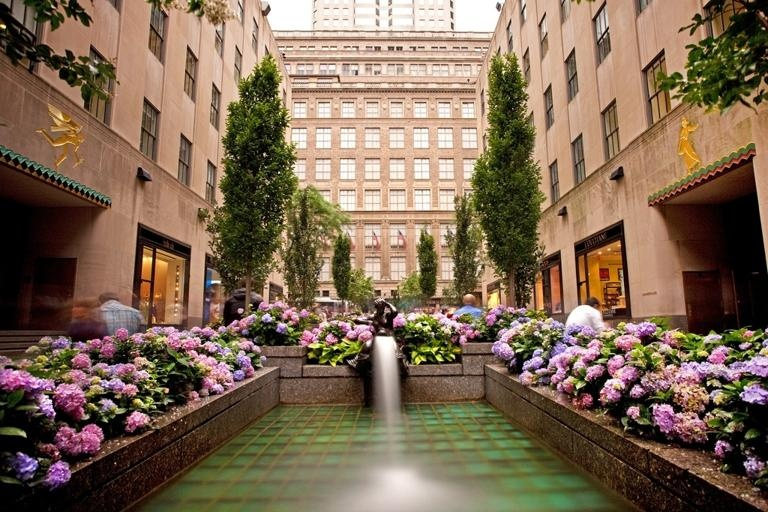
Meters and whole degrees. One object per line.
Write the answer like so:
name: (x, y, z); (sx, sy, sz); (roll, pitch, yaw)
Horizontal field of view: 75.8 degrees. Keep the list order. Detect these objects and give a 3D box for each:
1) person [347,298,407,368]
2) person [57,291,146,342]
person: (-0.173, 1.515, 9.875); (1.125, 1.266, 0.961); (-6, -10, 3)
person: (-6.131, 1.272, 10.446); (0.796, 0.751, 2.190); (20, -6, -25)
